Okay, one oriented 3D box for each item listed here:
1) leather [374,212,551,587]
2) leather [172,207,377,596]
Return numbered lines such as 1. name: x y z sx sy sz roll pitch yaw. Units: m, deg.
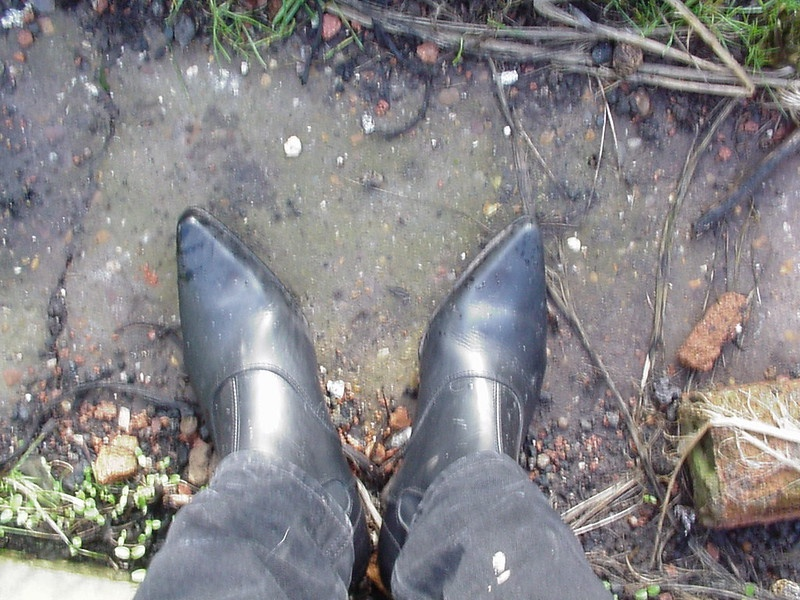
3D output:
1. leather: 0.206 0.140 2.105 0.325 1.113 0.421 17 -3 3
2. leather: -0.394 0.127 2.022 0.337 1.221 0.442 -15 -4 1
